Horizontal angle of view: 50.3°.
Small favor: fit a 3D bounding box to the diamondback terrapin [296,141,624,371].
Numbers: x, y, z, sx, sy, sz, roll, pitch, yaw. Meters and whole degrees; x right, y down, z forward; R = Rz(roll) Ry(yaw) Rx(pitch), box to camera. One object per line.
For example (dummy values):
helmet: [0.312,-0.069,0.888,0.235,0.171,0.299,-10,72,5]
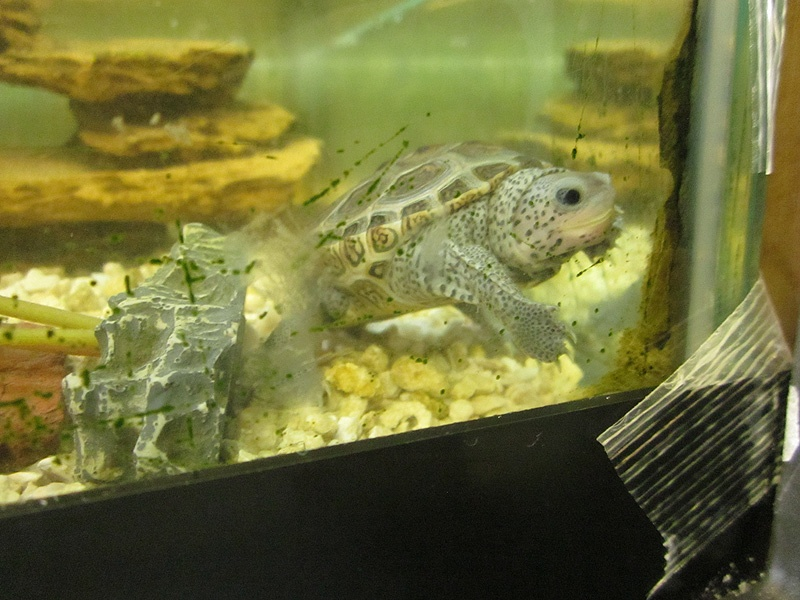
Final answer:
diamondback terrapin: [0.090,-0.135,1.385,0.399,0.260,0.618,-27,23,-33]
